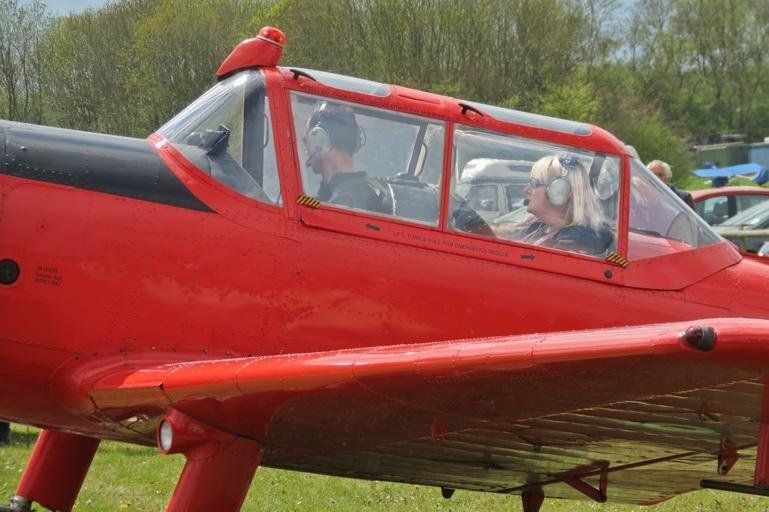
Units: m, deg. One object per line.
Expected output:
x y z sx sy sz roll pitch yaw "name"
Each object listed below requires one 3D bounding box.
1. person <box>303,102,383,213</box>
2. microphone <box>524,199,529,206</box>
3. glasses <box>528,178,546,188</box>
-0.387 -0.955 10.841 0.947 1.031 1.206 -2 10 -1 "person"
1.385 -0.530 10.821 0.067 0.050 0.015 4 -2 -22 "microphone"
1.497 -0.727 10.866 0.134 0.041 0.121 12 -21 2 "glasses"
